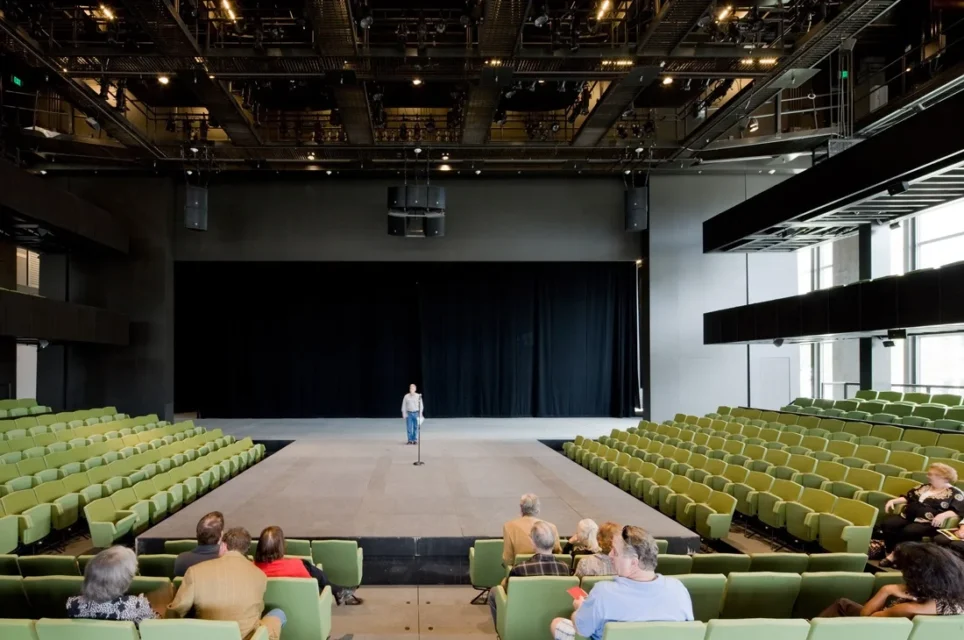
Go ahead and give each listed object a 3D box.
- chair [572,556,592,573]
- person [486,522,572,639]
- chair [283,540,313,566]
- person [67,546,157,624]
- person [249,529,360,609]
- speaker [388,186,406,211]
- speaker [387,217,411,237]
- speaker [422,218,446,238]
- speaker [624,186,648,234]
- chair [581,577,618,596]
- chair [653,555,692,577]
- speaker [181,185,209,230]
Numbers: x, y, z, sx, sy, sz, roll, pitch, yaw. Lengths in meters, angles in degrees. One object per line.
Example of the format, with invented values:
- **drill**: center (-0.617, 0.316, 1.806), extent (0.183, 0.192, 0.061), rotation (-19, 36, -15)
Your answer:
- **chair**: center (1.145, 2.822, 8.091), extent (0.244, 0.207, 0.244), rotation (-1, -6, 5)
- **person**: center (0.262, 2.948, 7.996), extent (0.812, 1.235, 0.961), rotation (18, -23, 1)
- **chair**: center (-2.300, 2.857, 8.727), extent (0.287, 0.381, 0.325), rotation (2, 1, 0)
- **person**: center (-3.880, 2.888, 7.257), extent (0.931, 0.992, 0.553), rotation (6, 17, -20)
- **person**: center (-2.022, 2.992, 8.249), extent (1.111, 1.074, 0.717), rotation (-6, 13, -14)
- **speaker**: center (-1.958, -2.795, 15.955), extent (0.405, 0.505, 0.465), rotation (1, -5, -5)
- **speaker**: center (-2.197, -2.446, 18.499), extent (0.585, 0.574, 0.568), rotation (-1, -3, 22)
- **speaker**: center (-1.285, -2.424, 18.567), extent (0.648, 0.642, 0.483), rotation (0, 1, -2)
- **speaker**: center (3.936, -2.881, 18.195), extent (0.579, 1.061, 0.414), rotation (-2, -5, 27)
- **chair**: center (1.214, 2.793, 7.321), extent (0.339, 0.228, 0.186), rotation (0, 1, 5)
- **chair**: center (2.230, 2.844, 8.080), extent (0.259, 0.272, 0.274), rotation (1, 1, 8)
- **speaker**: center (-7.390, -2.912, 18.012), extent (0.500, 1.157, 0.641), rotation (3, -5, -28)
